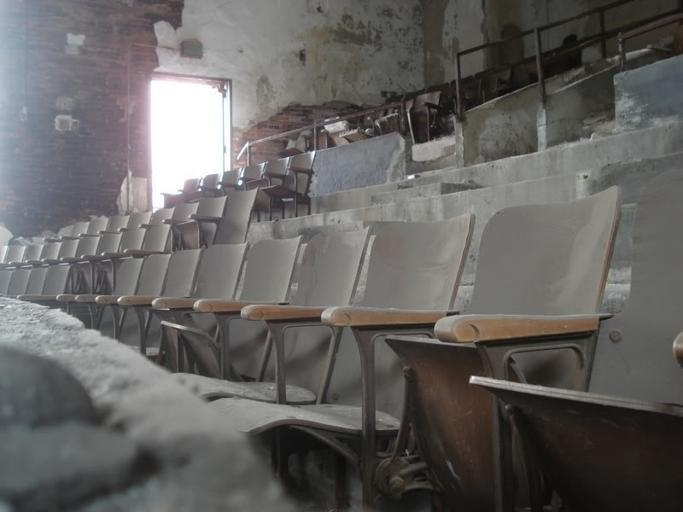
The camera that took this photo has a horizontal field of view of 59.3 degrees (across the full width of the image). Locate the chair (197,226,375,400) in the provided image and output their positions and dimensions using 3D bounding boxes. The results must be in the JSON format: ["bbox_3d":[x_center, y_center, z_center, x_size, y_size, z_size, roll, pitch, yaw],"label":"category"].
[{"bbox_3d":[-0.159,0.144,1.797,0.519,0.636,0.448,4,-5,-30],"label":"chair"}]

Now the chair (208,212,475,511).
[{"bbox_3d":[0.016,0.212,1.549,0.621,0.724,0.552,4,-7,-27],"label":"chair"}]

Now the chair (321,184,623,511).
[{"bbox_3d":[0.343,0.162,1.442,0.559,0.890,0.621,10,-13,-21],"label":"chair"}]
